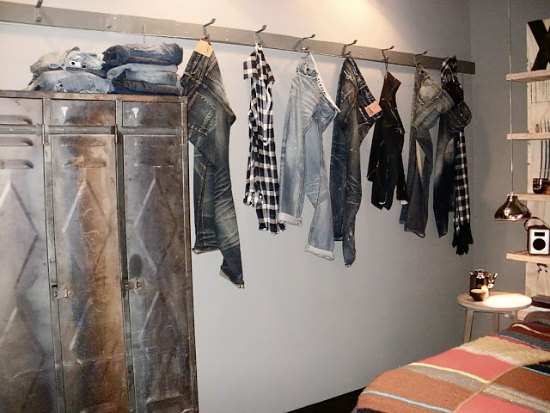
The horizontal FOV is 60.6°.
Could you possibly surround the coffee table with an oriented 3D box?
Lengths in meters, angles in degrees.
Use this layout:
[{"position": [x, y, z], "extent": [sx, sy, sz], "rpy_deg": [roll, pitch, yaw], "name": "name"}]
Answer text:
[{"position": [1.568, 0.824, 3.435], "extent": [0.429, 0.495, 0.399], "rpy_deg": [-4, 8, -17], "name": "coffee table"}]
